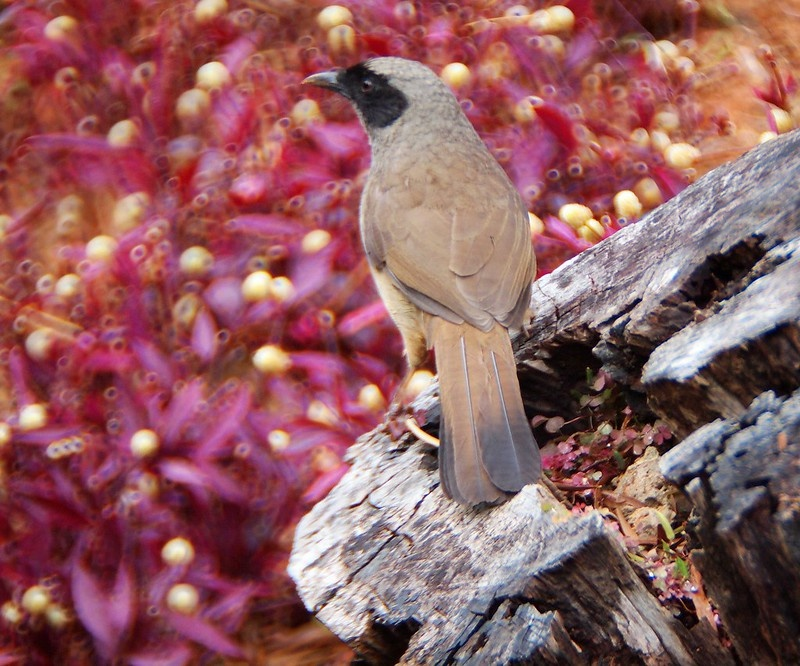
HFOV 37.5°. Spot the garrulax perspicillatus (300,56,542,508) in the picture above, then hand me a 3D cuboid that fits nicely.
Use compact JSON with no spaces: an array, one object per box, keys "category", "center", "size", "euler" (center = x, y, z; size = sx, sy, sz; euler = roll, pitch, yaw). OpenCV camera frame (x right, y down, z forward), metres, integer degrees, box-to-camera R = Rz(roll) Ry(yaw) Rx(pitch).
[{"category":"garrulax perspicillatus","center":[0.203,-0.230,4.528],"size":[0.676,1.330,1.822],"euler":[-3,96,7]}]
